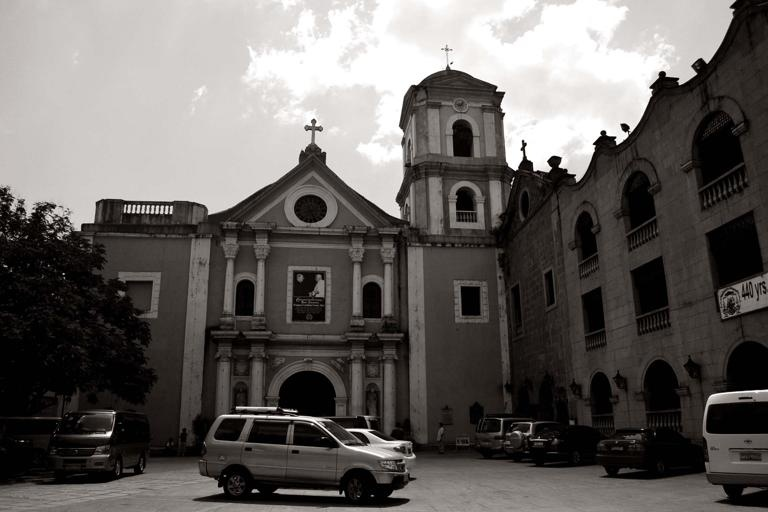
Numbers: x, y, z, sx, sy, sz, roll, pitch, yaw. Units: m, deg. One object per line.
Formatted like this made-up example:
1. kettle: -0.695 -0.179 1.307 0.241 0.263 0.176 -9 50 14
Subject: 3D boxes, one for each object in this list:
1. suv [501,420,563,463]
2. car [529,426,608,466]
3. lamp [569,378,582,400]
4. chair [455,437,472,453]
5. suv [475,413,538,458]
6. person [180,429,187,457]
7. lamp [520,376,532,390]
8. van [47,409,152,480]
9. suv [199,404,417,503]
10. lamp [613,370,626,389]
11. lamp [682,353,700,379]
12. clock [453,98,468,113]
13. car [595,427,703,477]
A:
1. suv: 6.900 8.560 32.364 2.920 1.343 1.586 5 -11 -38
2. car: 8.088 8.150 30.076 3.210 1.159 1.538 7 -14 -36
3. lamp: 9.119 6.366 33.330 0.303 0.962 0.904 3 -16 -9
4. chair: 4.545 10.861 39.986 0.836 0.835 0.859 0 -15 -2
5. suv: 6.323 9.130 35.577 3.095 1.728 1.719 3 -9 -39
6. person: -11.178 10.310 38.748 0.449 1.547 0.735 5 -17 -18
7. lamp: 8.072 7.175 38.972 0.428 0.548 0.838 -9 5 -1
8. van: -11.149 7.695 27.834 2.256 2.047 3.961 -2 -30 -2
9. suv: -2.416 6.454 22.920 5.700 2.581 2.976 -5 -21 9
10. lamp: 10.159 5.385 30.139 0.341 0.880 0.667 8 -18 -27
11. lamp: 11.649 4.261 26.260 0.685 1.113 0.682 -2 -7 18
12. clock: 4.965 -9.800 45.737 0.889 1.032 0.146 5 -15 1
13. car: 9.792 7.182 25.570 3.414 1.598 1.202 3 -16 -9
